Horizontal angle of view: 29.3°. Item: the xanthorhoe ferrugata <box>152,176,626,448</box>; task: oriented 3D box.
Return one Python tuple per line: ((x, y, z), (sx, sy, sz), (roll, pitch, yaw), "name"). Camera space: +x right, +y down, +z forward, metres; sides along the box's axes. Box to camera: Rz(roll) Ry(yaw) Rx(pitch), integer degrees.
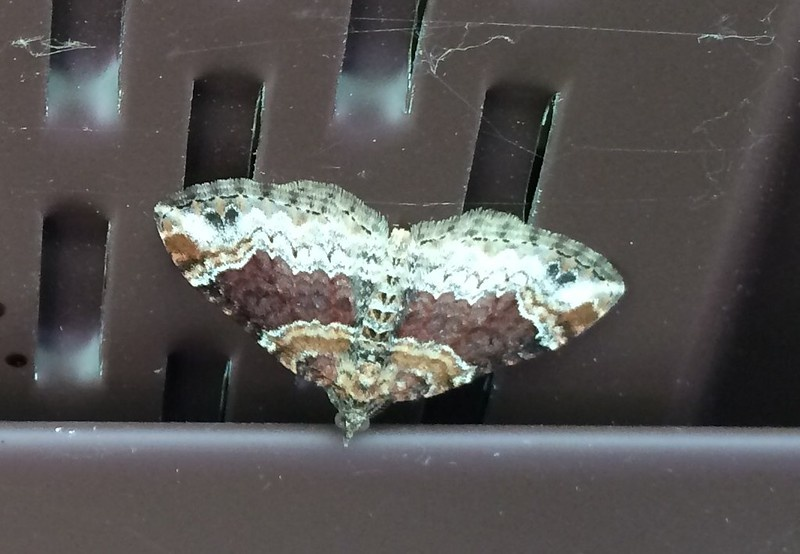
((-0.067, 0.006, 4.322), (1.320, 0.700, 0.138), (10, 4, -2), "xanthorhoe ferrugata")
